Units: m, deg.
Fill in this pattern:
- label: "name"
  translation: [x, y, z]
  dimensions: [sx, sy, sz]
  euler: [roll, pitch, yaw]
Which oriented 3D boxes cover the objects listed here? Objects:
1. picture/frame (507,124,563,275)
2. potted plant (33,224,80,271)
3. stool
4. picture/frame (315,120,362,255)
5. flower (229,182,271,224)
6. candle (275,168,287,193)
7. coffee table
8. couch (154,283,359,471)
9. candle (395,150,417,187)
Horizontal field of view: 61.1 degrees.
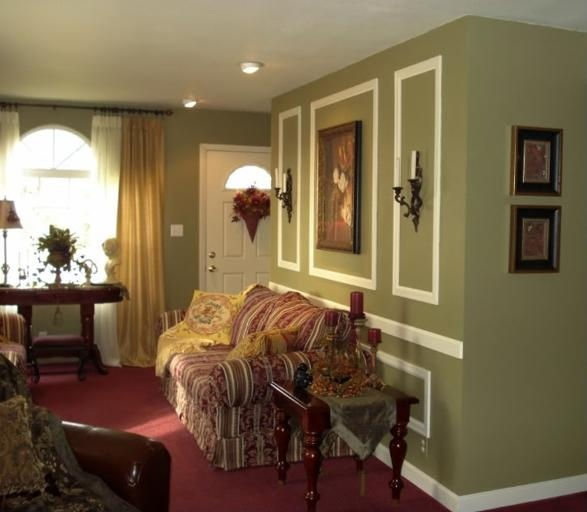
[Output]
- label: "picture/frame"
  translation: [1.364, -0.312, 2.800]
  dimensions: [0.355, 0.812, 0.082]
  euler: [-2, 3, -28]
- label: "potted plant"
  translation: [-2.469, -0.055, 5.394]
  dimensions: [0.420, 0.611, 0.469]
  euler: [2, -4, -18]
- label: "stool"
  translation: [-2.402, 0.952, 5.109]
  dimensions: [0.508, 0.452, 0.396]
  euler: [-1, 7, -21]
- label: "picture/frame"
  translation: [0.363, -0.542, 3.889]
  dimensions: [0.077, 1.312, 1.009]
  euler: [1, 0, -16]
- label: "flower"
  translation: [-0.509, -0.605, 6.149]
  dimensions: [0.405, 0.512, 0.405]
  euler: [0, -10, 15]
- label: "candle"
  translation: [-0.124, -0.752, 4.878]
  dimensions: [0.107, 0.230, 0.265]
  euler: [-1, 3, -4]
- label: "coffee table"
  translation: [0.237, 0.985, 2.904]
  dimensions: [0.640, 0.639, 0.682]
  euler: [0, 1, -22]
- label: "couch"
  translation: [-0.328, 0.414, 3.481]
  dimensions: [0.835, 0.966, 1.777]
  euler: [0, 5, -15]
- label: "candle"
  translation: [0.695, -0.530, 3.044]
  dimensions: [0.135, 0.228, 0.298]
  euler: [0, 3, 14]
